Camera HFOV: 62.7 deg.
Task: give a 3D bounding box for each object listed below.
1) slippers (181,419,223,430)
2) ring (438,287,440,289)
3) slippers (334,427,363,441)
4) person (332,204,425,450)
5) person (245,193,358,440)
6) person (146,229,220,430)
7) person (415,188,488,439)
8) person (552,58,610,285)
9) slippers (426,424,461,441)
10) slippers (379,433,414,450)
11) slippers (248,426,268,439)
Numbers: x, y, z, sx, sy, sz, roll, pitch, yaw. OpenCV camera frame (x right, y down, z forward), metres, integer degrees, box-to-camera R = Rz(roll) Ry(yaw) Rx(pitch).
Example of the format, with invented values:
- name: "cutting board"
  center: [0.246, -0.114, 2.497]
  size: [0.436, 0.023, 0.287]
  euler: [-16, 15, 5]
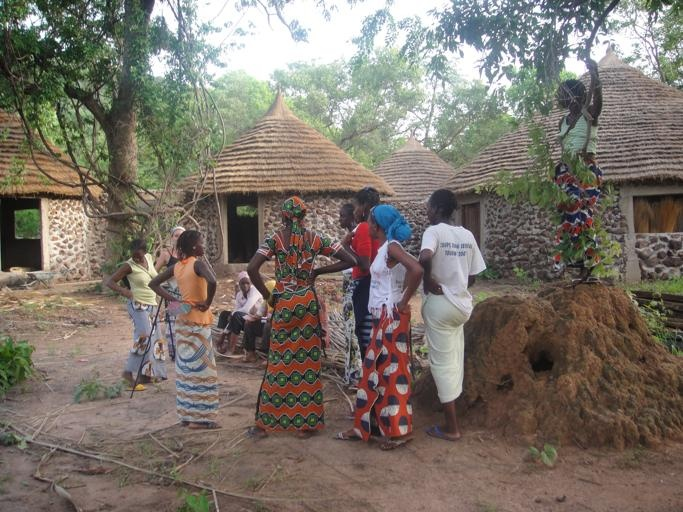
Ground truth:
- name: "slippers"
  center: [-1.575, 1.863, 6.293]
  size: [0.439, 0.076, 0.154]
  euler: [1, -4, -5]
- name: "ring"
  center: [1.029, 0.330, 5.871]
  size: [0.016, 0.020, 0.019]
  euler: [3, 4, -6]
- name: "slippers"
  center: [0.086, 1.911, 6.077]
  size: [0.338, 0.177, 0.117]
  euler: [4, -17, 15]
- name: "person"
  center: [0.510, 0.698, 5.885]
  size: [0.823, 2.478, 0.251]
  euler: [-1, -3, 36]
- name: "person"
  center: [-0.410, 0.599, 6.182]
  size: [0.969, 2.502, 0.734]
  euler: [2, 6, 12]
- name: "person"
  center: [-1.753, 0.792, 6.402]
  size: [0.734, 2.214, 0.483]
  euler: [-1, -3, 34]
- name: "person"
  center: [1.128, 0.604, 6.005]
  size: [0.768, 2.649, 0.413]
  euler: [1, -3, -17]
- name: "person"
  center: [2.715, -0.958, 6.440]
  size: [0.515, 2.447, 0.917]
  euler: [-1, -3, 25]
- name: "slippers"
  center: [1.079, 1.850, 5.980]
  size: [0.269, 0.109, 0.139]
  euler: [3, -3, 26]
- name: "slippers"
  center: [0.563, 1.906, 5.889]
  size: [0.379, 0.219, 0.146]
  euler: [-5, -12, -12]
- name: "slippers"
  center: [-0.891, 1.898, 6.078]
  size: [0.114, 0.059, 0.157]
  euler: [8, 1, 1]
